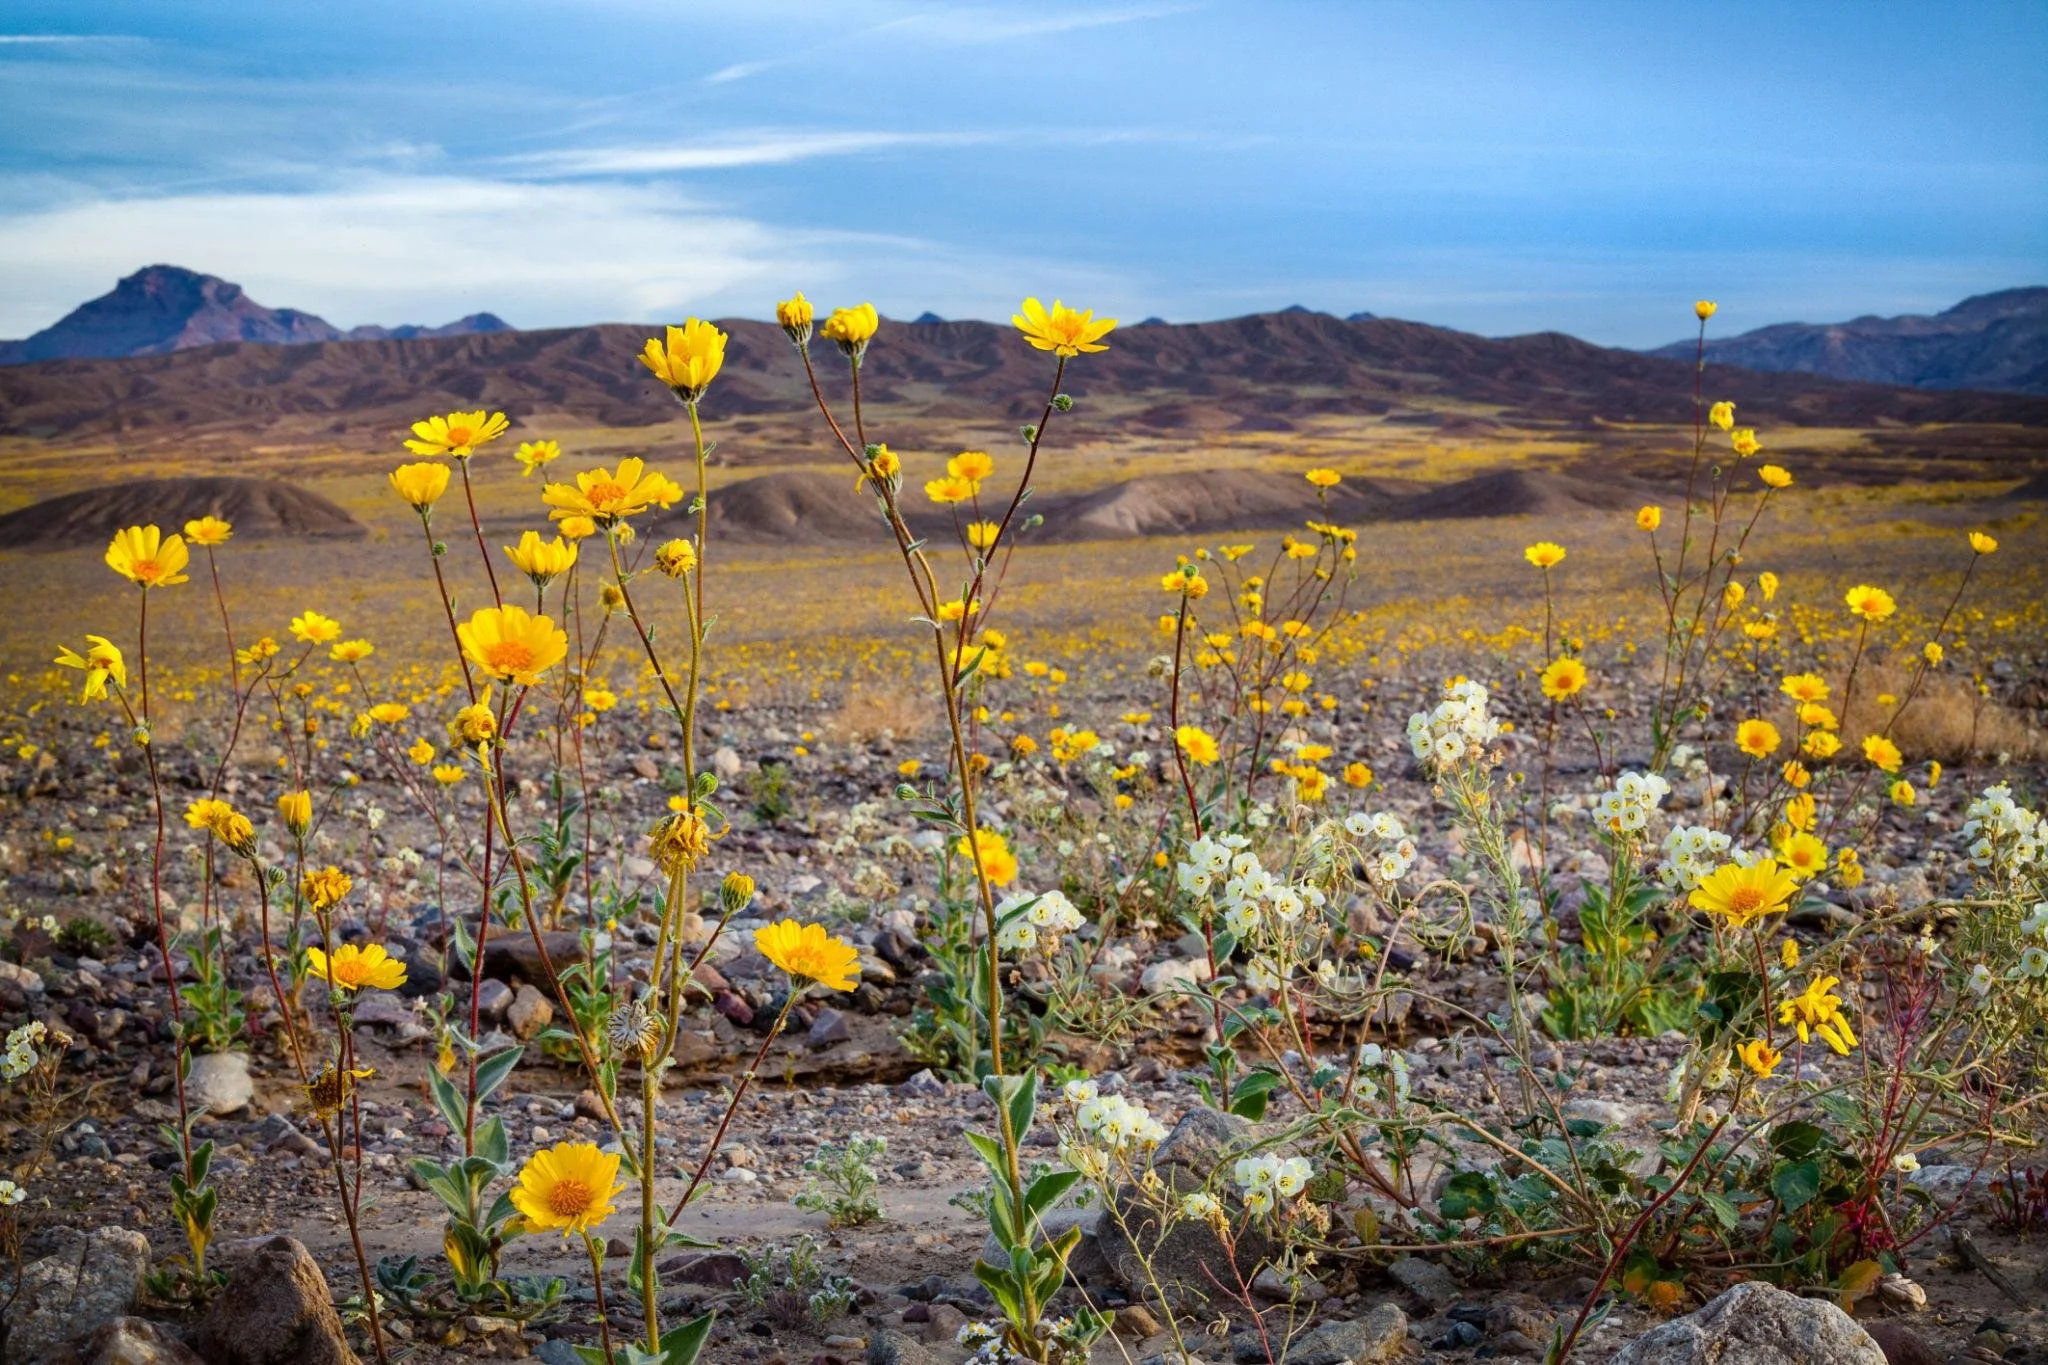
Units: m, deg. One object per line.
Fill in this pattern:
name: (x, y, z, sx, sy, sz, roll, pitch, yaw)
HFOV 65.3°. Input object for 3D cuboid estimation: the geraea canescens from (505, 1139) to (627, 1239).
geraea canescens: (-1.335, 1.489, 4.700, 0.282, 0.124, 0.311, 7, 18, -6)

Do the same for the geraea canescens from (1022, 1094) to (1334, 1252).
geraea canescens: (0.550, 1.660, 5.308, 0.696, 0.400, 0.660, 6, 1, -8)
